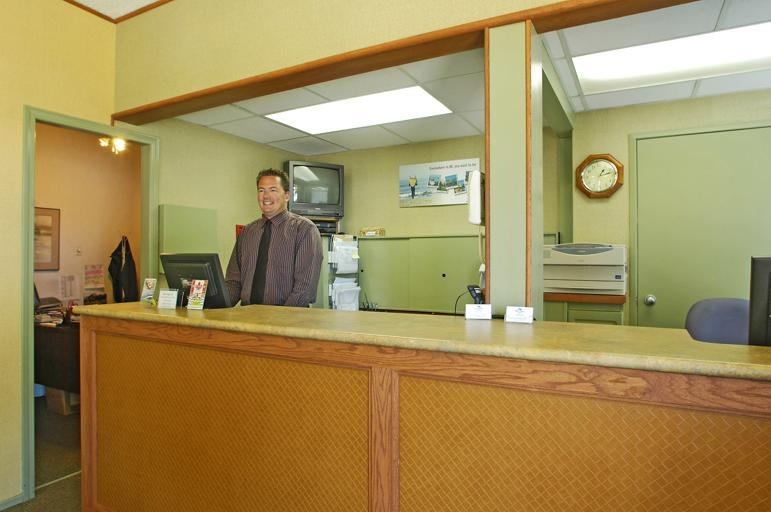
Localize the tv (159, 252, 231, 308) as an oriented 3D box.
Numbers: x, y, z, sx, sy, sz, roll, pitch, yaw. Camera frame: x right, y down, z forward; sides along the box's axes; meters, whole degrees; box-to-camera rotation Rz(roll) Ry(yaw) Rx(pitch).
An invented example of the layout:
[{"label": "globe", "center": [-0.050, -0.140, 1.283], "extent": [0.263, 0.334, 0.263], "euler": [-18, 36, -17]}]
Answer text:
[{"label": "tv", "center": [-1.304, 0.165, 3.640], "extent": [0.390, 0.254, 0.136], "euler": [-2, 4, 27]}]

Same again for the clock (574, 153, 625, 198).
[{"label": "clock", "center": [2.195, -0.806, 5.447], "extent": [0.472, 0.438, 0.072], "euler": [1, 5, 38]}]

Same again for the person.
[{"label": "person", "center": [-0.865, -0.142, 4.066], "extent": [0.565, 0.990, 0.785], "euler": [-14, 17, -39]}]

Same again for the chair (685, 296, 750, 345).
[{"label": "chair", "center": [2.292, 0.484, 3.880], "extent": [0.416, 0.414, 0.504], "euler": [-5, -13, 22]}]
